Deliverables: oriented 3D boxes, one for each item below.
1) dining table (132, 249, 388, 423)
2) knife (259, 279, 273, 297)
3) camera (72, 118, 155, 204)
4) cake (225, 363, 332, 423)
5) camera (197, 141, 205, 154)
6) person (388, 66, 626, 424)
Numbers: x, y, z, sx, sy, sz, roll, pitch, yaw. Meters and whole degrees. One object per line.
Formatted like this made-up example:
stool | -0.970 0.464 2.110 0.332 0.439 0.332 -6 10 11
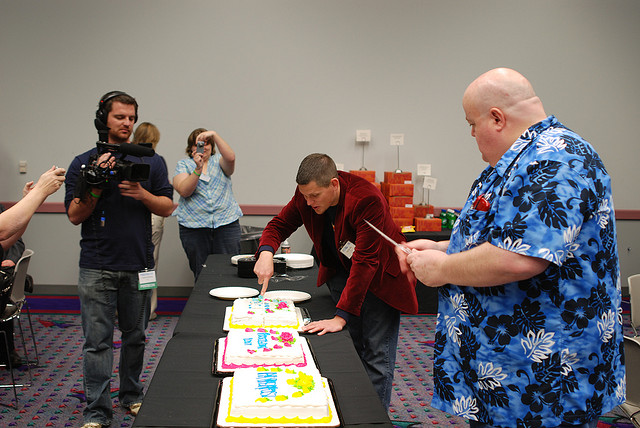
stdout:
dining table | -0.345 0.594 2.751 1.047 0.475 1.552 -4 7 -7
knife | -0.345 0.486 3.145 0.034 0.061 0.112 34 -14 -5
camera | -1.282 -0.324 3.054 0.537 0.518 0.329 10 8 18
cake | -0.185 0.793 2.179 0.456 0.133 0.308 -4 7 -4
camera | -1.092 -0.600 4.501 0.071 0.093 0.030 4 20 -14
person | 0.834 0.164 2.083 0.815 1.544 0.385 1 9 27
